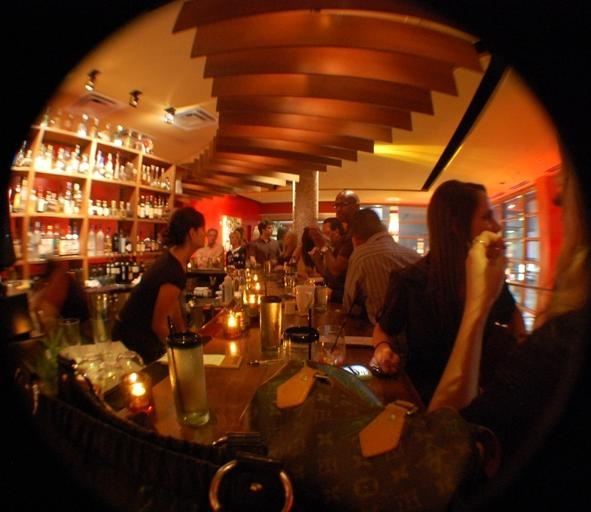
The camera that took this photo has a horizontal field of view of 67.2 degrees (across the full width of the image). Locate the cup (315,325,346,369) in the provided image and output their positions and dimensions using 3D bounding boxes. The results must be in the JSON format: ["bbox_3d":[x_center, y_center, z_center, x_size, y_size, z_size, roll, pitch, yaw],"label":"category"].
[{"bbox_3d":[0.120,0.336,1.632,0.104,0.121,0.116,1,-5,-8],"label":"cup"}]

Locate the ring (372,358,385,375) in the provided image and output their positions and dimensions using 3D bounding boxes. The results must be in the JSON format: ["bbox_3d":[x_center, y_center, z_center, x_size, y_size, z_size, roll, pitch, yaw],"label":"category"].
[{"bbox_3d":[0.291,0.402,1.618,0.011,0.037,0.034,36,-27,-30],"label":"ring"}]

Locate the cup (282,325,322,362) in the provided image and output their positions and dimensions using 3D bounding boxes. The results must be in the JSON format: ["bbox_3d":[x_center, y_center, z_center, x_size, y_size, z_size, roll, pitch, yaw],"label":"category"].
[{"bbox_3d":[0.028,0.302,1.573,0.109,0.088,0.111,0,2,0],"label":"cup"}]

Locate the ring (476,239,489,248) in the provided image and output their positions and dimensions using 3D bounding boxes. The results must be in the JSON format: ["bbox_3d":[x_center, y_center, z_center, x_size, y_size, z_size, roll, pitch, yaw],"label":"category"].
[{"bbox_3d":[0.574,-0.040,1.380,0.023,0.016,0.033,5,4,-11],"label":"ring"}]

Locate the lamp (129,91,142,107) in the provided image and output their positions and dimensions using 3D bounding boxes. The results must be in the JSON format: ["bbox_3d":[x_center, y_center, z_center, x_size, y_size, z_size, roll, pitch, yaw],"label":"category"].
[{"bbox_3d":[-1.057,-1.047,2.970,0.068,0.030,0.111,-8,-18,-30],"label":"lamp"}]

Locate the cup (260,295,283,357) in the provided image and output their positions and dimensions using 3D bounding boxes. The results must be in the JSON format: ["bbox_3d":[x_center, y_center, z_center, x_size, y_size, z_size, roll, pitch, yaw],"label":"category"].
[{"bbox_3d":[-0.100,0.275,1.816,0.090,0.223,0.180,1,-1,-3],"label":"cup"}]

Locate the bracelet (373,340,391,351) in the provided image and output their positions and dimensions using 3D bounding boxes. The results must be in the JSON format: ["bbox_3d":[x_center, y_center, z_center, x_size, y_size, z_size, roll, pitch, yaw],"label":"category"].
[{"bbox_3d":[0.339,0.354,1.781,0.039,0.043,0.042,3,-25,1],"label":"bracelet"}]

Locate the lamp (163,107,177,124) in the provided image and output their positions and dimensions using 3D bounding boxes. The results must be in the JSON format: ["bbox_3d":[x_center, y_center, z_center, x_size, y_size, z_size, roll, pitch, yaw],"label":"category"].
[{"bbox_3d":[-0.977,-1.094,3.499,0.077,0.116,0.272,1,-1,-16],"label":"lamp"}]

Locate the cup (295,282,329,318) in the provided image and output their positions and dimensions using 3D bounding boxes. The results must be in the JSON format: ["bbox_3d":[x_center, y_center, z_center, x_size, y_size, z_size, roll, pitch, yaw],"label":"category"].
[{"bbox_3d":[0.089,0.241,2.511,0.120,0.158,0.200,2,-2,-7],"label":"cup"}]
